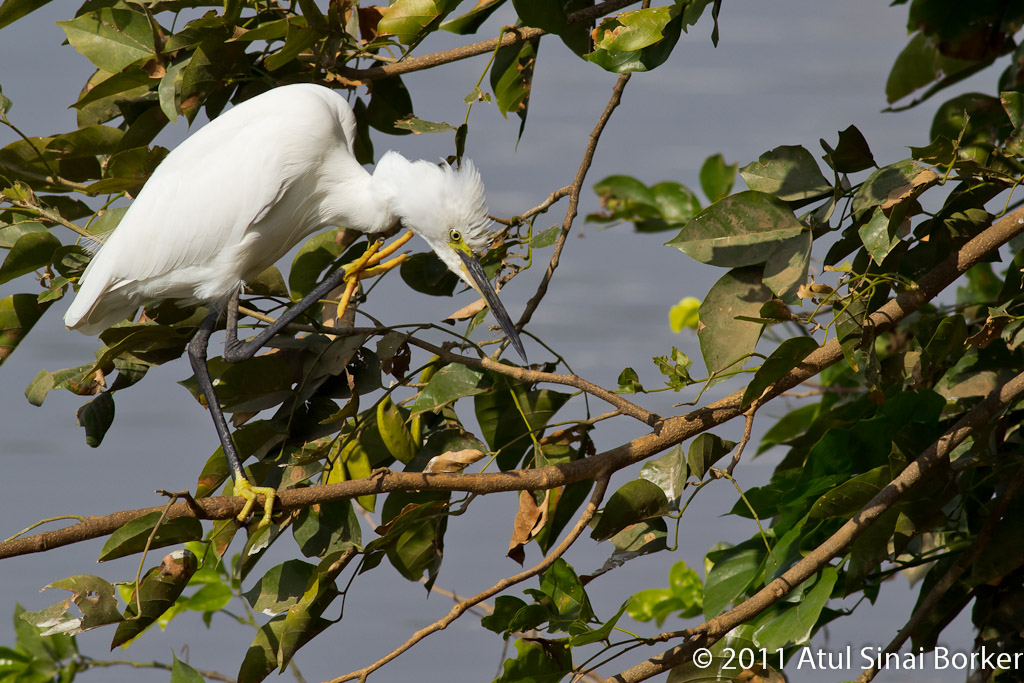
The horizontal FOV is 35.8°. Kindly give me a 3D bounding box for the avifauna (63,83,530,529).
[{"bbox_3d":[-0.620,-0.082,4.312,1.271,1.174,0.421,4,-2,15],"label":"avifauna"}]
